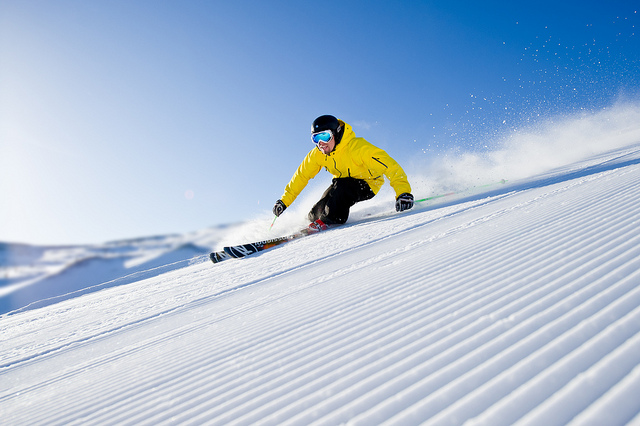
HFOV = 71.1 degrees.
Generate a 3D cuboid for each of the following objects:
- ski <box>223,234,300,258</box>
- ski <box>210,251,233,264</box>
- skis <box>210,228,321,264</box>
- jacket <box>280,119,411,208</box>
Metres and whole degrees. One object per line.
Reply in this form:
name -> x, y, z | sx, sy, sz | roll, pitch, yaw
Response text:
ski -> -0.719, 0.415, 5.684 | 0.861, 0.115, 0.088 | -15, -38, -33
ski -> -1.167, 0.527, 5.333 | 0.170, 0.081, 0.218 | -7, 1, -16
skis -> -0.669, 0.404, 5.659 | 1.527, 0.197, 0.170 | -17, -15, -19
jacket -> 0.394, -0.695, 6.515 | 2.355, 1.226, 1.081 | 0, 15, 37
